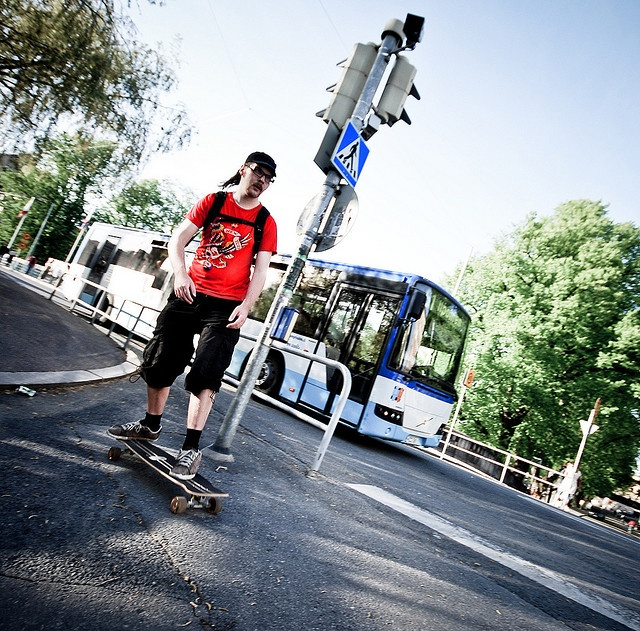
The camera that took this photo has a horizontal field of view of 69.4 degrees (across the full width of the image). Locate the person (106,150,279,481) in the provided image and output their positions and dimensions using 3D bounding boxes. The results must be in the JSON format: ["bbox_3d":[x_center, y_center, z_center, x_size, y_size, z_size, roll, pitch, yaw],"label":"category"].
[{"bbox_3d":[-0.793,-0.107,3.264,0.891,2.373,0.644,22,-7,1],"label":"person"}]

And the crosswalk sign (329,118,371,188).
[{"bbox_3d":[0.333,-1.633,4.666,0.236,0.617,0.552,16,-8,45],"label":"crosswalk sign"}]

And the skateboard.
[{"bbox_3d":[-1.094,0.942,3.150,0.339,0.206,1.326,11,3,-42],"label":"skateboard"}]
